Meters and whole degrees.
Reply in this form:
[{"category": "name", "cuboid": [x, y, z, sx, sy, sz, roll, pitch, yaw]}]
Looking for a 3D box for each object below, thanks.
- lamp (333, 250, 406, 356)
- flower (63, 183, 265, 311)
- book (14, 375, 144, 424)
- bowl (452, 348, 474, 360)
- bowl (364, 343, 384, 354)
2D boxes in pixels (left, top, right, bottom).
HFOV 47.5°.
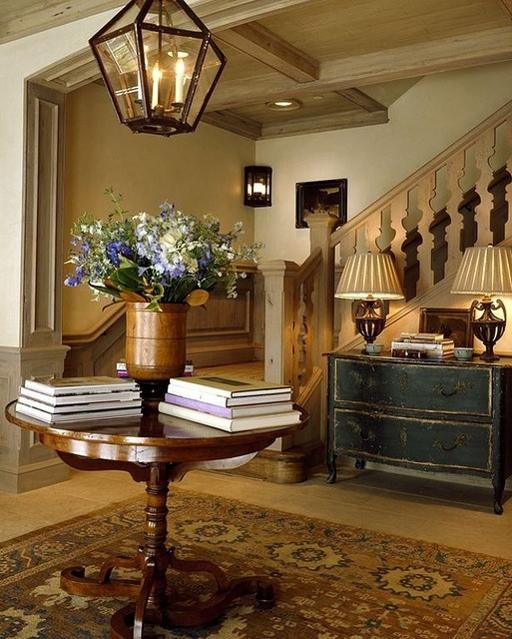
[{"category": "lamp", "cuboid": [0.755, -0.147, 3.849, 0.419, 0.692, 0.589, 1, -2, 14]}, {"category": "flower", "cuboid": [-0.409, -0.199, 1.939, 0.690, 0.395, 0.647, 5, -1, 20]}, {"category": "book", "cuboid": [-0.530, 0.226, 1.625, 0.361, 0.097, 0.211, 1, -2, 12]}, {"category": "bowl", "cuboid": [1.191, 0.192, 3.355, 0.090, 0.047, 0.082, -5, 4, -13]}, {"category": "bowl", "cuboid": [0.738, 0.176, 3.621, 0.084, 0.042, 0.077, -3, 2, 0]}]
